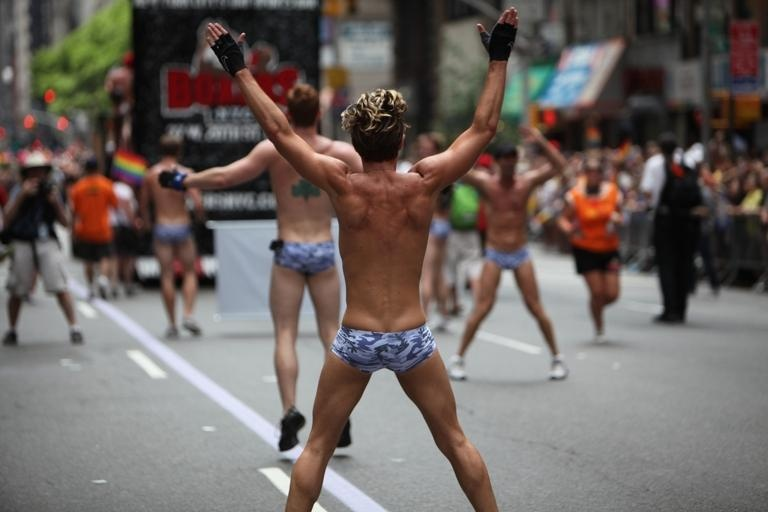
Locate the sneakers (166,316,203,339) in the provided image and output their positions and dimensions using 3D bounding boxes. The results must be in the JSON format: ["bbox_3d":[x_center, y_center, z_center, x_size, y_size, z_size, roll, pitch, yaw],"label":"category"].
[{"bbox_3d":[-1.445,0.531,6.563,0.113,0.108,0.263,3,-9,-36],"label":"sneakers"}]

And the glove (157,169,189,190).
[{"bbox_3d":[-1.474,-0.536,6.424,0.064,0.111,0.113,-33,-30,2],"label":"glove"}]

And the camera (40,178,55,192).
[{"bbox_3d":[-2.182,-0.456,5.927,0.069,0.081,0.019,-5,7,-18],"label":"camera"}]

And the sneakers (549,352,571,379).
[{"bbox_3d":[1.245,0.805,6.529,0.075,0.172,0.170,-4,11,-17],"label":"sneakers"}]

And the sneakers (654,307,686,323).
[{"bbox_3d":[1.991,0.432,6.373,0.218,0.085,0.059,0,10,7],"label":"sneakers"}]

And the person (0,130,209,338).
[{"bbox_3d":[-2.129,-0.099,6.193,0.461,1.256,1.105,2,11,19],"label":"person"}]

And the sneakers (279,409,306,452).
[{"bbox_3d":[-0.671,1.257,6.600,0.133,0.379,0.147,15,7,-30],"label":"sneakers"}]
